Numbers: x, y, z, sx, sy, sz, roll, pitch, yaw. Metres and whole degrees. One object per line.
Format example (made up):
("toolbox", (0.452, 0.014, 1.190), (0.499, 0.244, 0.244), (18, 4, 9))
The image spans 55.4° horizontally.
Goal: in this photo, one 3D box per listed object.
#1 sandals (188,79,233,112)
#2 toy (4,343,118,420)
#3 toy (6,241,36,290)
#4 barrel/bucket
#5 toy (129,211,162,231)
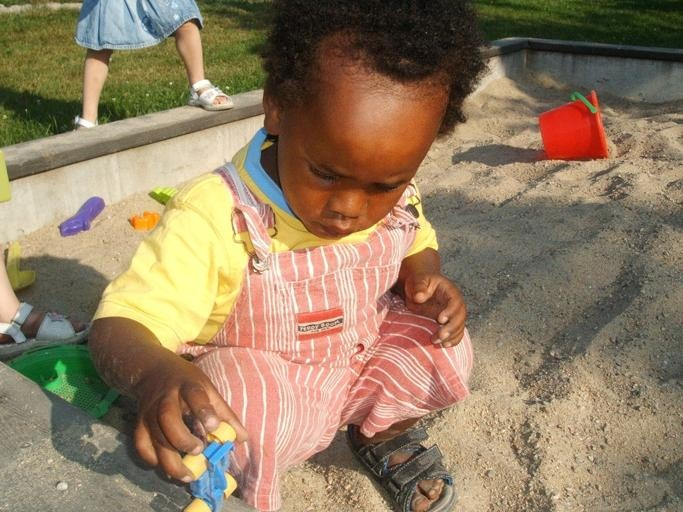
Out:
("sandals", (-0.844, -0.989, 4.125), (0.324, 0.150, 0.148), (22, 45, 21))
("toy", (-1.084, 0.552, 2.549), (0.320, 0.117, 0.327), (25, 28, -2))
("toy", (-1.540, 0.026, 3.103), (0.137, 0.044, 0.243), (-5, 52, -40))
("barrel/bucket", (1.568, -0.829, 4.511), (0.429, 0.478, 0.483), (-7, 0, 2))
("toy", (-1.001, -0.174, 3.299), (0.142, 0.062, 0.173), (9, 16, 19))
